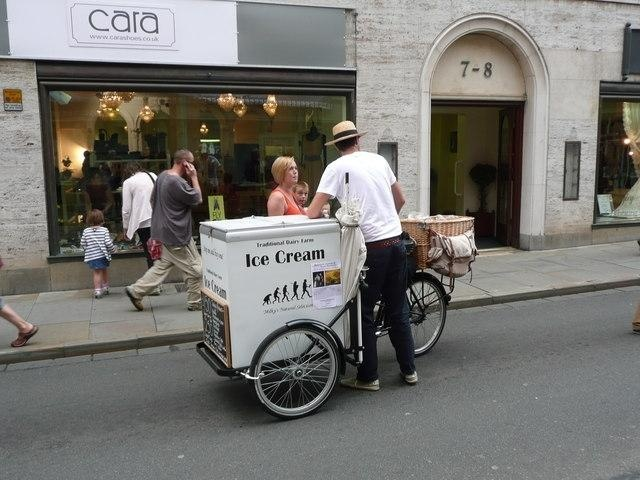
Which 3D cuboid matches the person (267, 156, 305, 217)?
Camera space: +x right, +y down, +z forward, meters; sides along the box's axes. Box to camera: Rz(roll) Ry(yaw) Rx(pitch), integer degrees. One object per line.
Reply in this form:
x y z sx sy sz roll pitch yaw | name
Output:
-0.419 -0.611 6.611 0.383 0.762 0.626 0 8 14 | person

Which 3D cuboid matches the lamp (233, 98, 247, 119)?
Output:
-1.429 -2.330 9.883 0.249 0.343 0.257 15 22 32 | lamp

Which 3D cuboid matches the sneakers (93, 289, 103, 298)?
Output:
-3.452 0.817 8.676 0.100 0.142 0.138 0 -8 -3 | sneakers

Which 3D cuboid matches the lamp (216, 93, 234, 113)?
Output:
-1.666 -2.393 9.738 0.250 0.264 0.264 -3 4 4 | lamp

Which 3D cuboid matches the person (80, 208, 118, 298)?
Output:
-3.478 0.208 8.698 0.398 1.307 0.470 -6 14 -24 | person

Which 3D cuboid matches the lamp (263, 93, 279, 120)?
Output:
-0.919 -2.422 10.039 0.275 0.465 0.120 -18 46 -21 | lamp

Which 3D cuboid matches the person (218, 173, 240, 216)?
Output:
-1.640 -0.826 10.101 0.284 0.792 0.124 -3 13 -9 | person

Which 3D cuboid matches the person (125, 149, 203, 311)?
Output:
-2.160 -0.117 7.864 0.945 2.220 0.481 -3 13 -10 | person

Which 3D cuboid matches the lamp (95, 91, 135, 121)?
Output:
-3.435 -2.262 9.322 0.440 0.534 0.451 6 7 40 | lamp
